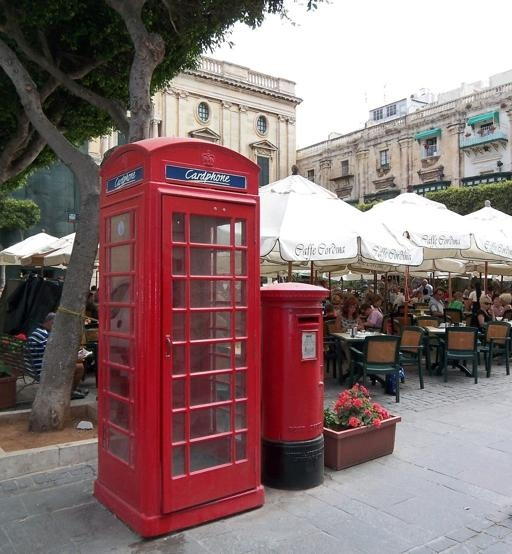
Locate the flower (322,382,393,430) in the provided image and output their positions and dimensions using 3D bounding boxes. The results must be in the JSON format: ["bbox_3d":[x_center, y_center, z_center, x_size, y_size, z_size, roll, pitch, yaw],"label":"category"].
[{"bbox_3d":[0.938,1.340,6.437,0.475,0.381,0.460,1,-1,-34],"label":"flower"}]

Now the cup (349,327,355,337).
[{"bbox_3d":[1.505,0.863,9.876,0.101,0.123,0.107,0,-2,0],"label":"cup"}]

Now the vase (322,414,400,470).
[{"bbox_3d":[1.045,1.655,6.278,0.646,0.296,0.417,-2,1,-33],"label":"vase"}]
